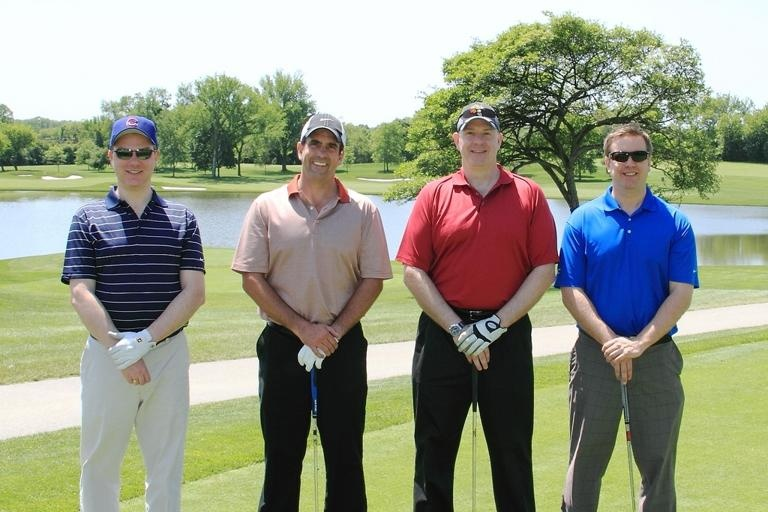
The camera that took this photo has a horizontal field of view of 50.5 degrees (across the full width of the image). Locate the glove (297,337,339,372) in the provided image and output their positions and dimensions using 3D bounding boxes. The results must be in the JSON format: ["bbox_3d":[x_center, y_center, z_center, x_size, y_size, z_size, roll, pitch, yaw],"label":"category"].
[{"bbox_3d":[-0.742,1.045,8.323,0.276,0.286,0.101,-2,9,-6],"label":"glove"}]

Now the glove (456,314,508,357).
[{"bbox_3d":[0.990,0.818,8.288,0.511,0.440,0.185,-1,9,5],"label":"glove"}]

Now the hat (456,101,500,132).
[{"bbox_3d":[1.004,-1.481,8.652,0.304,0.203,0.403,1,-5,5],"label":"hat"}]
